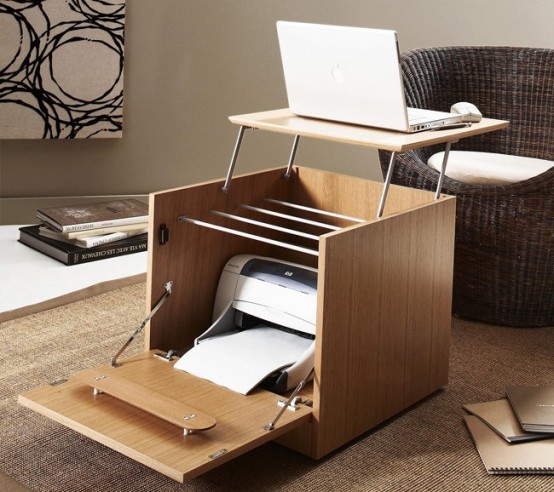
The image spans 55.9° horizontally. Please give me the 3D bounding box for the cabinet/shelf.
[{"bbox_3d":[-0.021,0.108,1.334,0.601,0.594,1.092,9,18,44],"label":"cabinet/shelf"}]

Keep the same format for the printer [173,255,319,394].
[{"bbox_3d":[-0.044,0.235,1.345,0.339,0.167,0.343,17,34,31],"label":"printer"}]

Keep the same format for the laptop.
[{"bbox_3d":[0.280,-0.419,1.286,0.350,0.221,0.424,-21,27,-31],"label":"laptop"}]

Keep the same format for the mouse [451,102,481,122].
[{"bbox_3d":[0.503,-0.354,1.368,0.077,0.020,0.076,24,30,28],"label":"mouse"}]

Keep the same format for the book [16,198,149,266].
[{"bbox_3d":[-0.572,-0.090,1.595,0.284,0.072,0.275,-16,25,-42],"label":"book"}]
